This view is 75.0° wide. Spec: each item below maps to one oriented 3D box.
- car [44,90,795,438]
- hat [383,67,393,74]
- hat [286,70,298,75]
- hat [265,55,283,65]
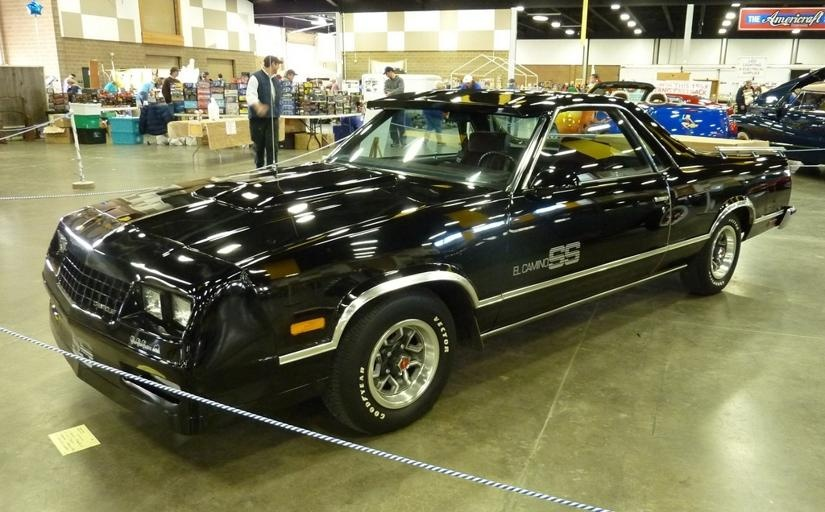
[{"bbox_3d":[0.702,-0.194,4.707,6.041,1.407,2.454,-8,15,-30],"label":"car"},{"bbox_3d":[-0.656,-5.551,16.160,0.255,0.209,0.309,-13,12,-17],"label":"hat"},{"bbox_3d":[-4.080,-6.282,18.527,0.415,0.174,0.275,-23,32,-32],"label":"hat"},{"bbox_3d":[-2.560,-3.645,10.048,0.192,0.114,0.269,9,21,25],"label":"hat"}]
